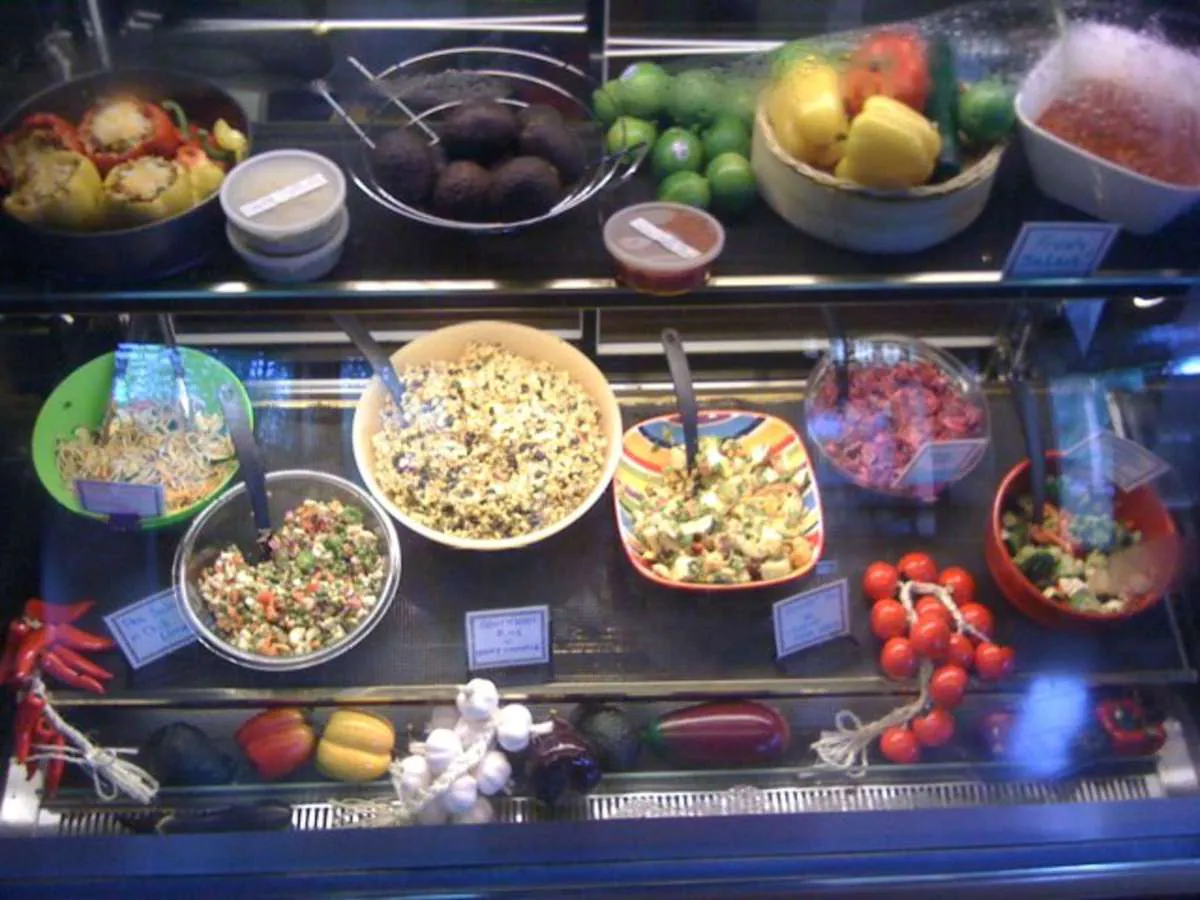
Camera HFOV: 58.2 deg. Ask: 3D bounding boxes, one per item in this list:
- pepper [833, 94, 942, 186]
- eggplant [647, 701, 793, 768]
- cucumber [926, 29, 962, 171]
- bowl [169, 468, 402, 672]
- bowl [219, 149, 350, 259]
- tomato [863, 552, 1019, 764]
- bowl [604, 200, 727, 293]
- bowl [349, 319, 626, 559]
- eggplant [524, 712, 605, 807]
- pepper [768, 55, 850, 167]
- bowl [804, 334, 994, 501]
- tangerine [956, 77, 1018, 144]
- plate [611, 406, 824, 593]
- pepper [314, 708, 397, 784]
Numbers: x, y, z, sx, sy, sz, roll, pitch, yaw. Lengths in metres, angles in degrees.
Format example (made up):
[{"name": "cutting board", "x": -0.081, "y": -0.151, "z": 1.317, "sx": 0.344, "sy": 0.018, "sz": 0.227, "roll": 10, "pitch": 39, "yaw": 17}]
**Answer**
[{"name": "pepper", "x": 0.517, "y": -0.534, "z": 1.909, "sx": 0.150, "sy": 0.114, "sz": 0.123, "roll": 28, "pitch": 64, "yaw": 13}, {"name": "eggplant", "x": 0.252, "y": 0.576, "z": 2.210, "sx": 0.221, "sy": 0.130, "sz": 0.093, "roll": 1, "pitch": 47, "yaw": 0}, {"name": "cucumber", "x": 0.626, "y": -0.632, "z": 1.954, "sx": 0.067, "sy": 0.070, "sz": 0.227, "roll": -3, "pitch": 91, "yaw": 18}, {"name": "bowl", "x": -0.645, "y": 0.264, "z": 2.257, "sx": 0.416, "sy": 0.163, "sz": 0.422, "roll": 2, "pitch": 75, "yaw": -7}, {"name": "bowl", "x": -0.565, "y": -0.449, "z": 1.919, "sx": 0.197, "sy": 0.065, "sz": 0.204, "roll": 2, "pitch": 59, "yaw": -3}, {"name": "tomato", "x": 0.711, "y": 0.424, "z": 2.270, "sx": 0.283, "sy": 0.165, "sz": 0.405, "roll": 8, "pitch": 84, "yaw": -16}, {"name": "bowl", "x": 0.118, "y": -0.383, "z": 2.025, "sx": 0.215, "sy": 0.065, "sz": 0.174, "roll": 3, "pitch": 61, "yaw": 0}, {"name": "bowl", "x": -0.238, "y": -0.007, "z": 2.336, "sx": 0.518, "sy": 0.183, "sz": 0.521, "roll": 2, "pitch": 64, "yaw": -5}, {"name": "eggplant", "x": -0.077, "y": 0.623, "z": 2.137, "sx": 0.147, "sy": 0.092, "sz": 0.167, "roll": 41, "pitch": 67, "yaw": 19}, {"name": "pepper", "x": 0.406, "y": -0.621, "z": 1.998, "sx": 0.161, "sy": 0.182, "sz": 0.111, "roll": 24, "pitch": 43, "yaw": 38}, {"name": "bowl", "x": 0.630, "y": -0.073, "z": 2.507, "sx": 0.383, "sy": 0.198, "sz": 0.383, "roll": 4, "pitch": 67, "yaw": -10}, {"name": "tangerine", "x": 0.686, "y": -0.611, "z": 1.951, "sx": 0.090, "sy": 0.091, "sz": 0.119, "roll": 13, "pitch": 32, "yaw": 1}, {"name": "plate", "x": 0.267, "y": 0.117, "z": 2.341, "sx": 0.379, "sy": 0.157, "sz": 0.411, "roll": -1, "pitch": 49, "yaw": -5}, {"name": "pepper", "x": -0.495, "y": 0.597, "z": 2.188, "sx": 0.160, "sy": 0.052, "sz": 0.138, "roll": 5, "pitch": 61, "yaw": 1}]
